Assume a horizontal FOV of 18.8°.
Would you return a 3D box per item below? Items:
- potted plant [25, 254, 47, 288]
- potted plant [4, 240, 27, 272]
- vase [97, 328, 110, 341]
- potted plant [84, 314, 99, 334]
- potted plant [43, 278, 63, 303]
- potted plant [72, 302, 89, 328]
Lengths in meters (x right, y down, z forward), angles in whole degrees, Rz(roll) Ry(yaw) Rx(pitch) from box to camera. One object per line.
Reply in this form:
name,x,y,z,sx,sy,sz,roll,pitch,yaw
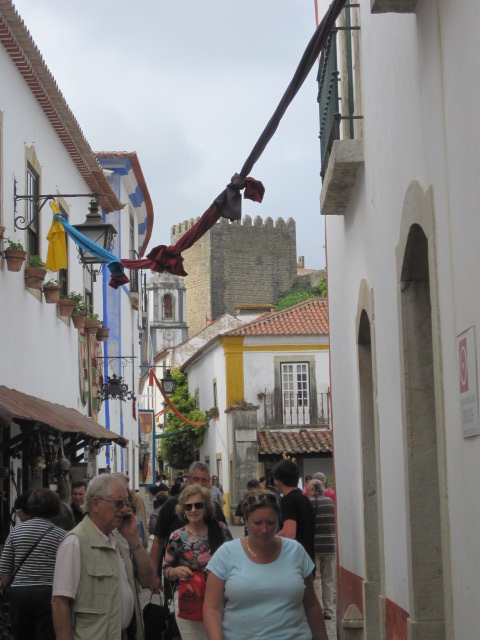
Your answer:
potted plant,-2.112,-0.517,14.965,0.220,0.372,0.375,0,-9,-9
potted plant,-2.147,-0.642,13.793,0.198,0.216,0.235,-3,-22,15
vase,-1.941,0.204,20.686,0.156,0.161,0.163,7,-12,-38
potted plant,-1.990,0.051,19.390,0.179,0.191,0.200,5,0,24
potted plant,-2.049,-0.330,15.873,0.200,0.219,0.235,5,-4,1
potted plant,-1.972,-0.057,17.913,0.214,0.335,0.269,3,-3,5
